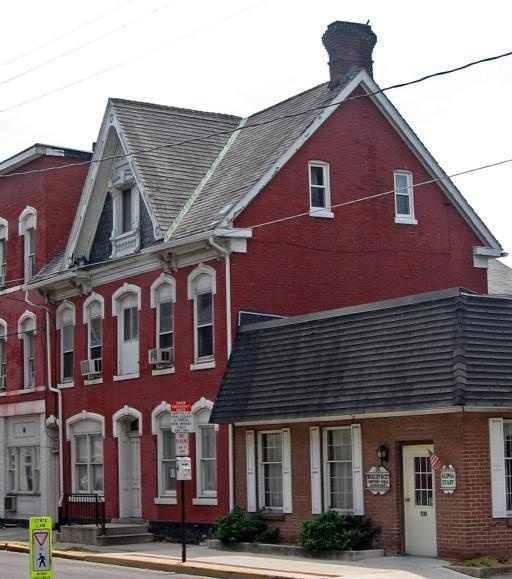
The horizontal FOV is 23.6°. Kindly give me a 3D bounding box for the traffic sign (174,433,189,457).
[{"bbox_3d":[-1.508,3.153,24.629,0.238,0.486,0.257,0,-14,-12],"label":"traffic sign"}]

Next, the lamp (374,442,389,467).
[{"bbox_3d":[2.428,3.291,24.103,0.150,0.435,0.338,5,-15,-27],"label":"lamp"}]

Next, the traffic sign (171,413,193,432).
[{"bbox_3d":[-1.510,2.705,24.713,0.536,0.432,0.055,2,-11,-14],"label":"traffic sign"}]

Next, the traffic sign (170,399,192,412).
[{"bbox_3d":[-1.528,2.385,24.727,0.393,0.226,0.484,0,-13,-7],"label":"traffic sign"}]

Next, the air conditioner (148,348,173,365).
[{"bbox_3d":[-2.400,1.687,30.378,0.465,0.297,0.476,5,-7,-44],"label":"air conditioner"}]
